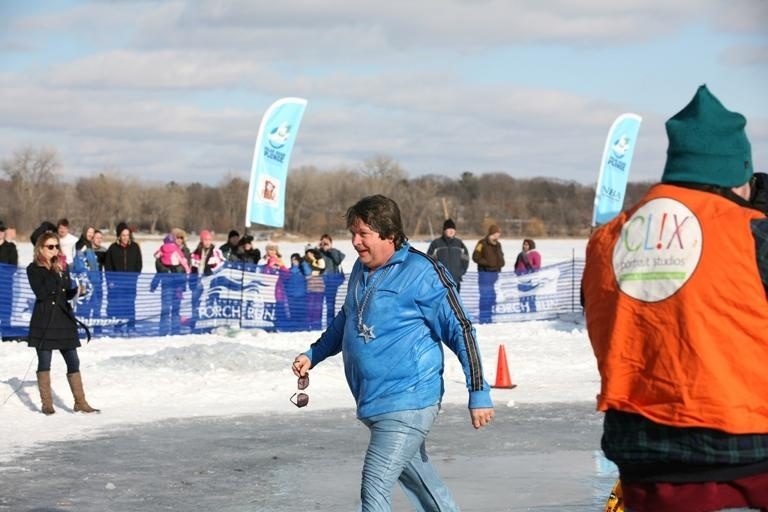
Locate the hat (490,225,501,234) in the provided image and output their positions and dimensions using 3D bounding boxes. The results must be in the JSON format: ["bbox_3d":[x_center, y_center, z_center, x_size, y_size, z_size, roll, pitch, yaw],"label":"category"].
[{"bbox_3d":[1.995,-0.478,27.104,0.165,0.149,0.165,-2,4,-16],"label":"hat"}]

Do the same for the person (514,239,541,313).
[{"bbox_3d":[2.688,0.339,28.392,0.460,1.337,1.111,2,9,5],"label":"person"}]

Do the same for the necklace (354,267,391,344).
[{"bbox_3d":[-0.171,0.486,14.779,0.160,0.647,0.377,11,-7,-39],"label":"necklace"}]

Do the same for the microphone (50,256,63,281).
[{"bbox_3d":[-4.204,0.131,19.238,0.187,0.236,0.083,-8,3,-43],"label":"microphone"}]

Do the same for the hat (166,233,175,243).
[{"bbox_3d":[-3.591,-0.300,25.141,0.150,0.105,0.146,4,-2,-5],"label":"hat"}]

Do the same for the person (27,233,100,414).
[{"bbox_3d":[-4.152,0.867,19.305,0.854,2.282,0.758,-2,10,-14],"label":"person"}]

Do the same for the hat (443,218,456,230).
[{"bbox_3d":[1.131,-0.546,26.133,0.178,0.165,0.181,2,0,-7],"label":"hat"}]
